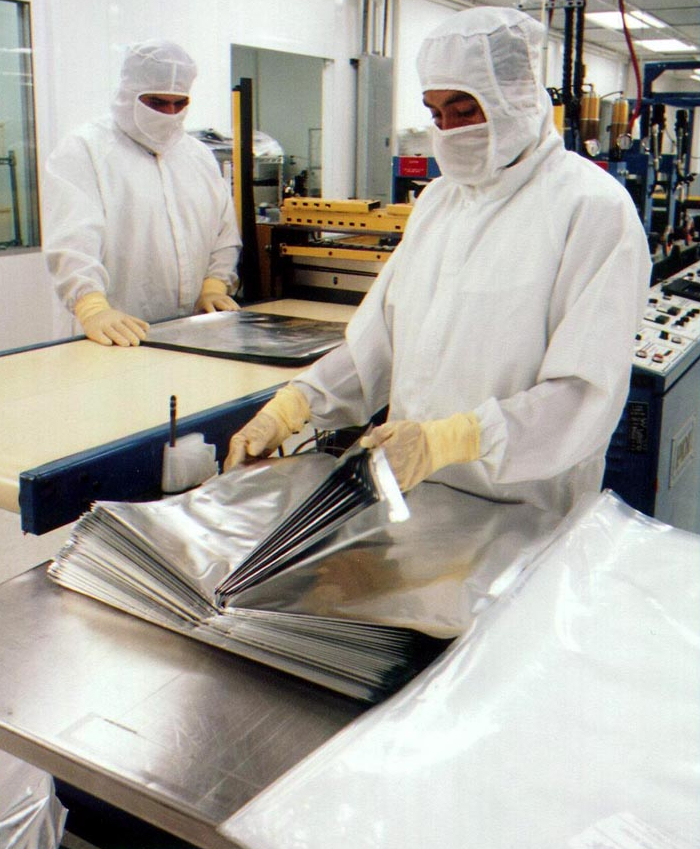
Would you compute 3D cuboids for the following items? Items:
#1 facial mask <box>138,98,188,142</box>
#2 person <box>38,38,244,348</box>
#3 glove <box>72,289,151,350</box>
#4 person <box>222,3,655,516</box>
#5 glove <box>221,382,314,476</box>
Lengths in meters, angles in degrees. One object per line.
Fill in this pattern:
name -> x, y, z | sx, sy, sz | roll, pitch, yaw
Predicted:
facial mask -> -0.562, -0.924, 2.136 | 0.085, 0.125, 0.170 | 5, 13, 40
person -> -0.627, -0.700, 2.224 | 0.582, 0.906, 0.663 | 22, 26, 34
glove -> -0.618, -0.275, 1.819 | 0.139, 0.144, 0.376 | -10, 11, -27
person -> 0.128, -0.281, 1.099 | 0.562, 0.711, 0.454 | 3, 13, 33
glove -> -0.161, 0.000, 1.193 | 0.116, 0.140, 0.153 | 12, 20, 33
